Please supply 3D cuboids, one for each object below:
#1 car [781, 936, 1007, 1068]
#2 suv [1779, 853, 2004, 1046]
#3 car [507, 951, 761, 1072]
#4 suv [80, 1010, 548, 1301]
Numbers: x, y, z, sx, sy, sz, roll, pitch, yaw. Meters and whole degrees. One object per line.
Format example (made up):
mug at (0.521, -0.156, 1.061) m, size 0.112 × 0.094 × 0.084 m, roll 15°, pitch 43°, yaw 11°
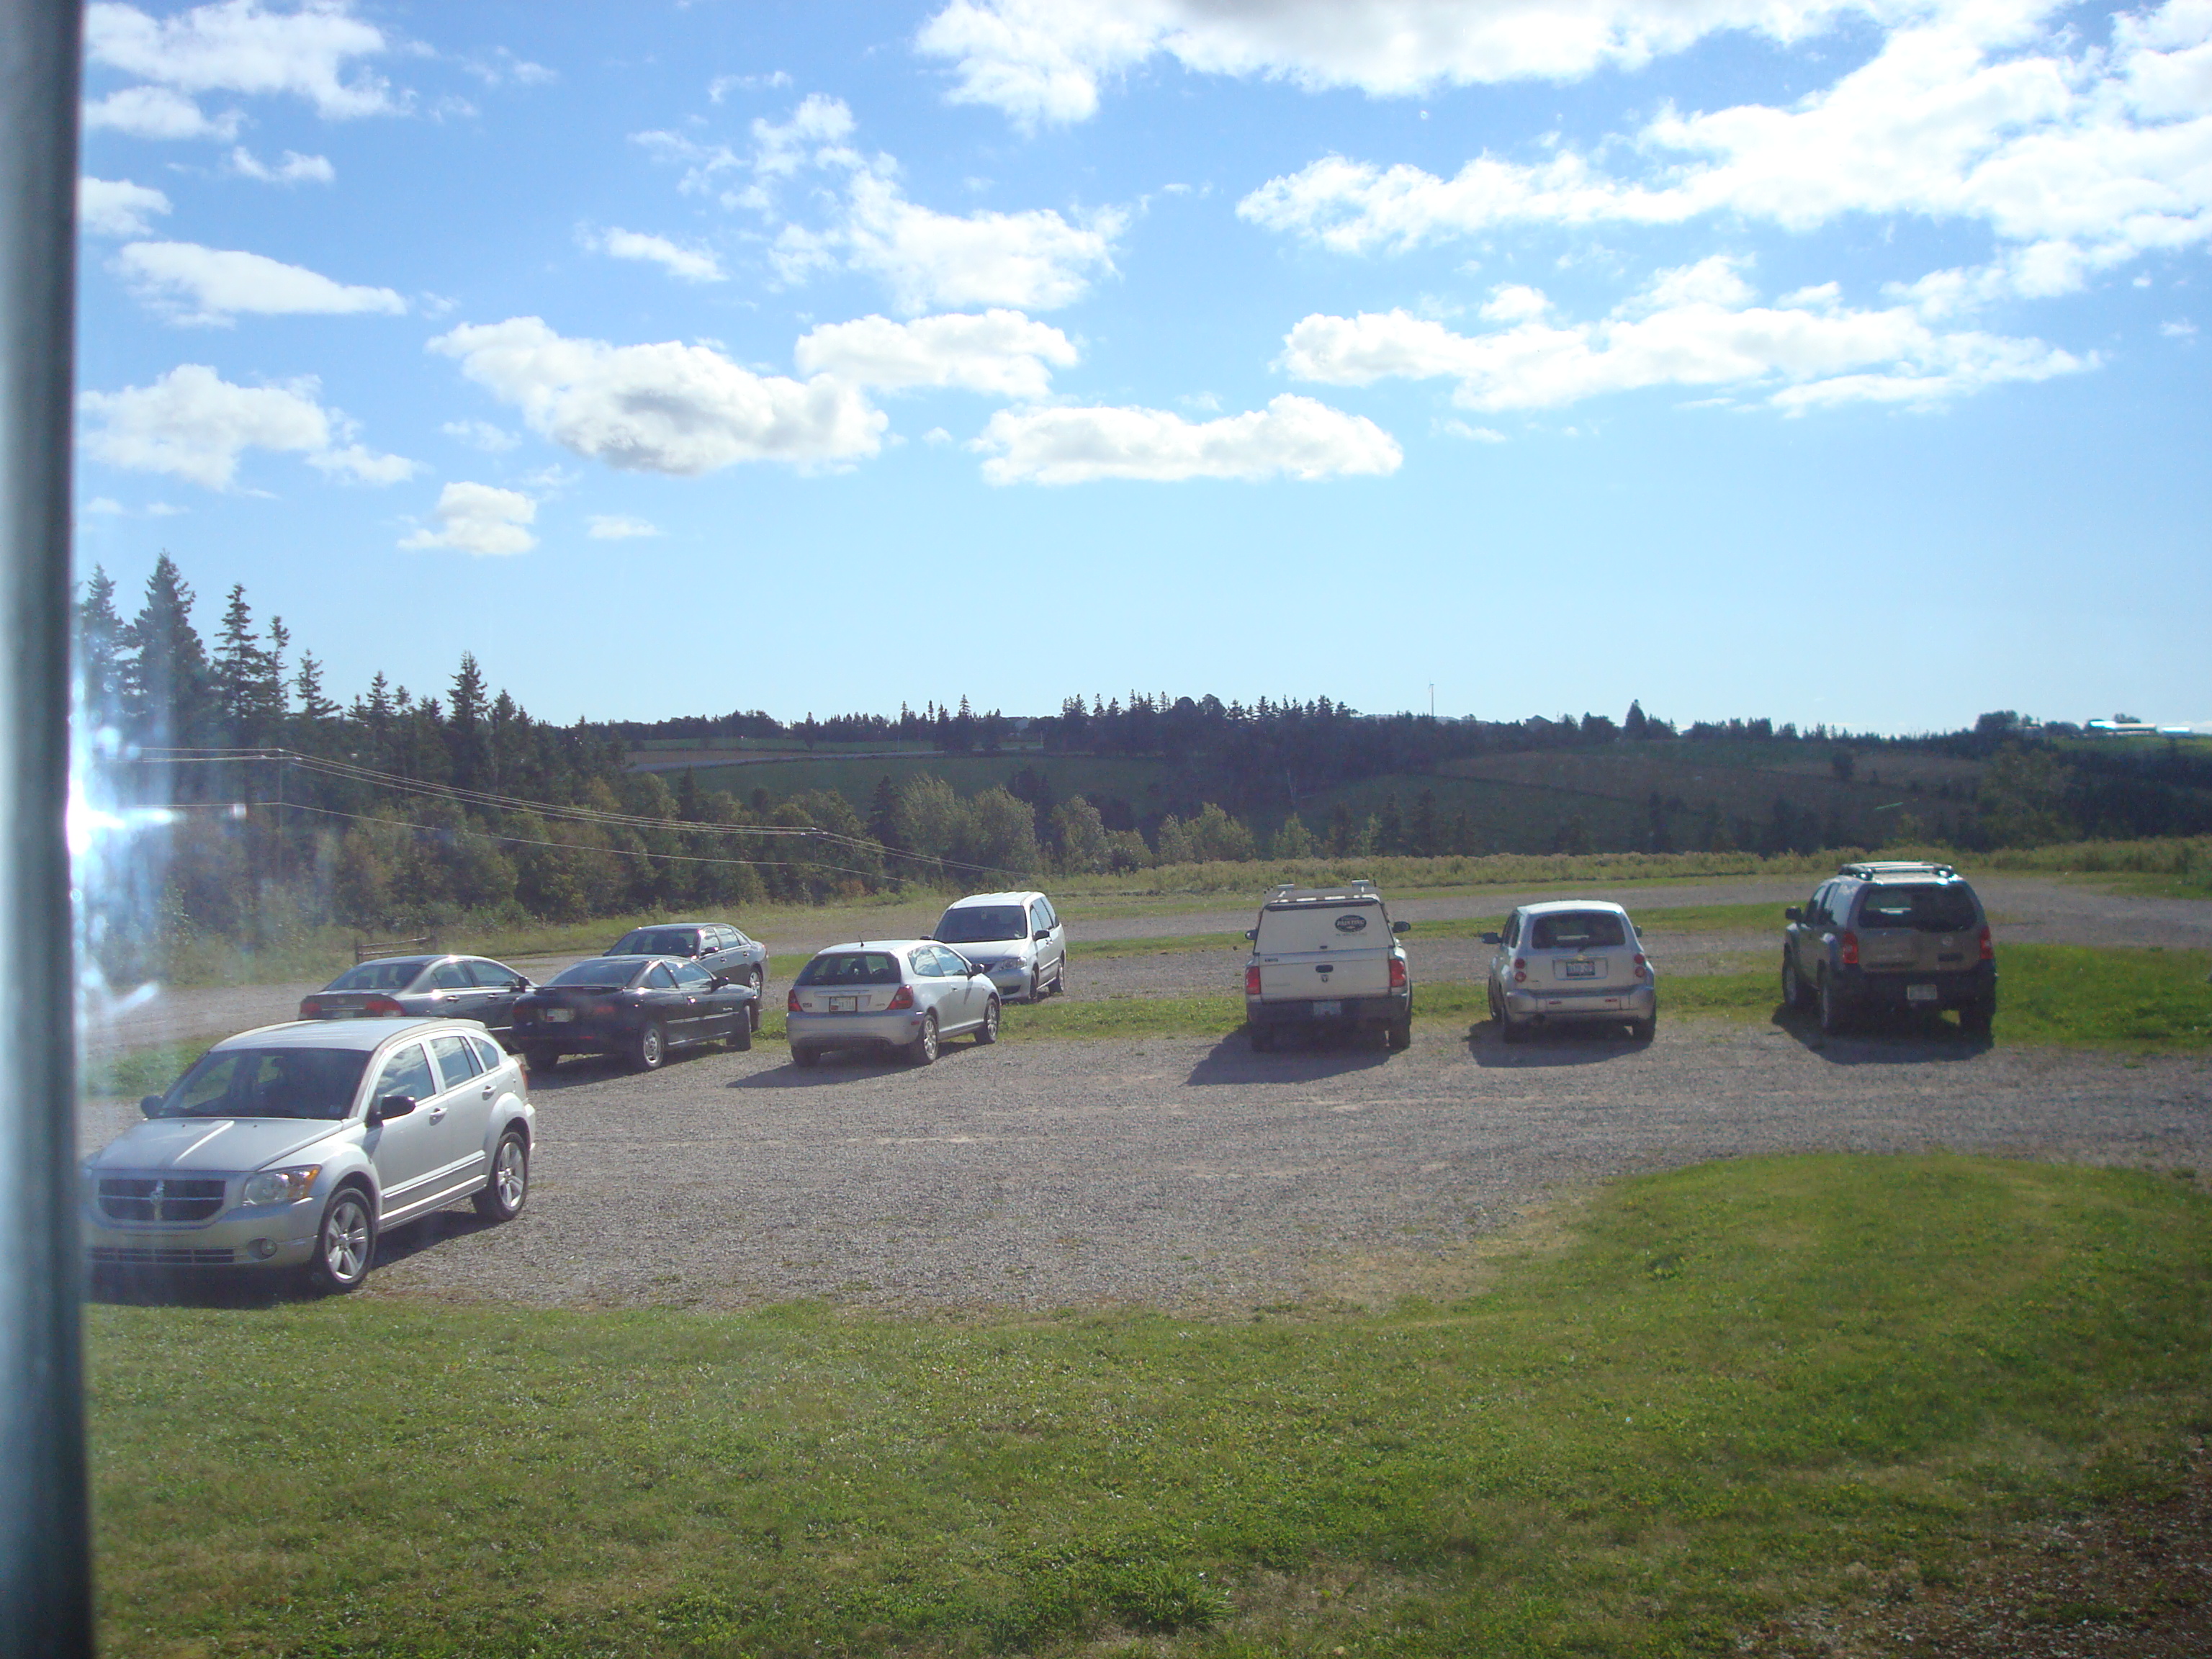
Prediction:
car at (-2.510, 2.156, 25.327) m, size 1.230 × 0.976 × 2.403 m, roll -1°, pitch 4°, yaw 19°
suv at (9.063, 1.264, 23.631) m, size 1.478 × 1.708 × 3.178 m, roll 0°, pitch 5°, yaw 7°
car at (-5.845, 2.427, 25.927) m, size 1.189 × 0.980 × 2.827 m, roll 2°, pitch 5°, yaw 25°
suv at (-5.568, 2.268, 14.166) m, size 1.498 × 1.676 × 3.086 m, roll -1°, pitch 2°, yaw 15°
